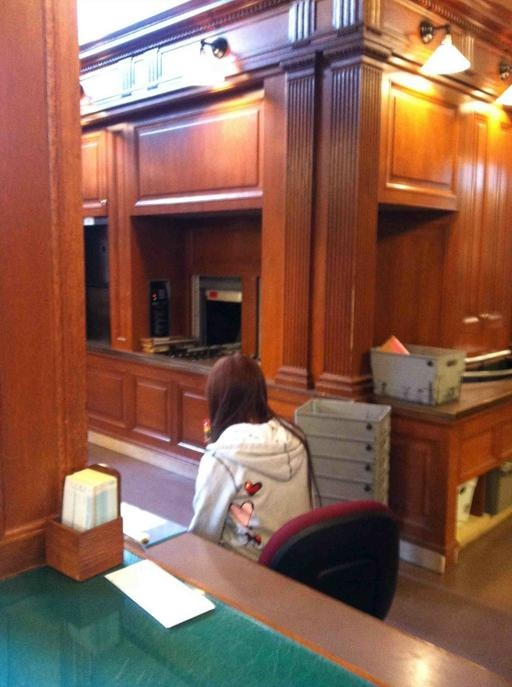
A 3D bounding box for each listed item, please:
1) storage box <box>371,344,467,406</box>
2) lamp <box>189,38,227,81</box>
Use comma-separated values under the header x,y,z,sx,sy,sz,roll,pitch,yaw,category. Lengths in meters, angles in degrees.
x,y,z,sx,sy,sz,roll,pitch,yaw,category
0.808,0.150,2.919,0.377,0.274,0.262,5,15,37,storage box
-0.275,-1.752,3.384,0.222,0.319,0.183,0,3,5,lamp
